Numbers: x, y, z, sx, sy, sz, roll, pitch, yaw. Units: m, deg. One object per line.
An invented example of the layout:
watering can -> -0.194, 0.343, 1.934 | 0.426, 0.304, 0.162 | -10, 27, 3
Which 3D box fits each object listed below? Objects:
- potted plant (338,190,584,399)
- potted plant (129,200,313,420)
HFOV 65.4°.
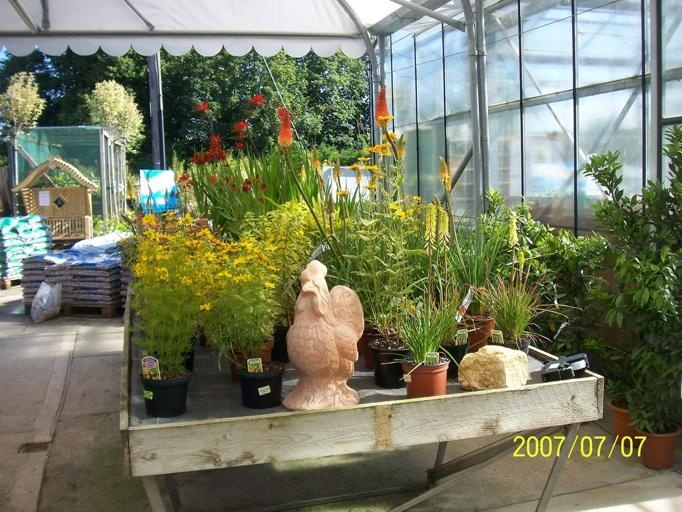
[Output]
potted plant -> 0.623, 0.087, 2.963 | 1.149, 0.893, 1.205 | 0, 1, 0
potted plant -> -0.595, 0.157, 2.704 | 1.025, 0.814, 1.230 | -2, 7, -11
